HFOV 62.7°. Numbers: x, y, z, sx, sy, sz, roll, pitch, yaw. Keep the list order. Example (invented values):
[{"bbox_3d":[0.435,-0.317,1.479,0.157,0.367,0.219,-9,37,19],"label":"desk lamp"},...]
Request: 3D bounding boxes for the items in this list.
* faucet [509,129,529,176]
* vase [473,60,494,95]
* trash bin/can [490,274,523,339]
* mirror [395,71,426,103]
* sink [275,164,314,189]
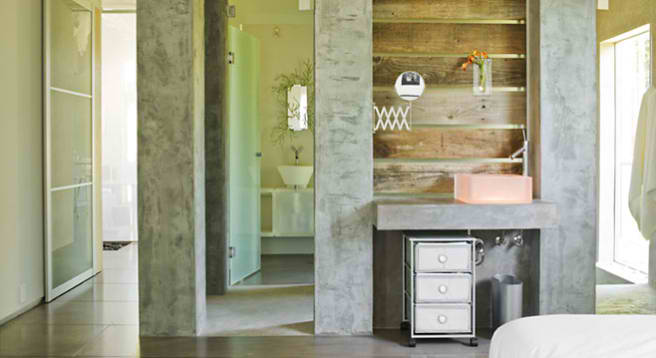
[{"bbox_3d":[2.207,-0.307,6.196,0.214,0.501,0.284,0,15,-2],"label":"faucet"},{"bbox_3d":[1.770,-1.152,6.175,0.208,0.409,0.102,3,15,9],"label":"vase"},{"bbox_3d":[2.035,1.419,6.077,0.388,0.598,0.388,3,15,7],"label":"trash bin/can"},{"bbox_3d":[0.949,-1.071,6.319,0.345,0.307,0.075,12,1,-2],"label":"mirror"},{"bbox_3d":[-0.499,-0.045,8.286,0.498,0.254,0.343,0,-13,0],"label":"sink"}]
